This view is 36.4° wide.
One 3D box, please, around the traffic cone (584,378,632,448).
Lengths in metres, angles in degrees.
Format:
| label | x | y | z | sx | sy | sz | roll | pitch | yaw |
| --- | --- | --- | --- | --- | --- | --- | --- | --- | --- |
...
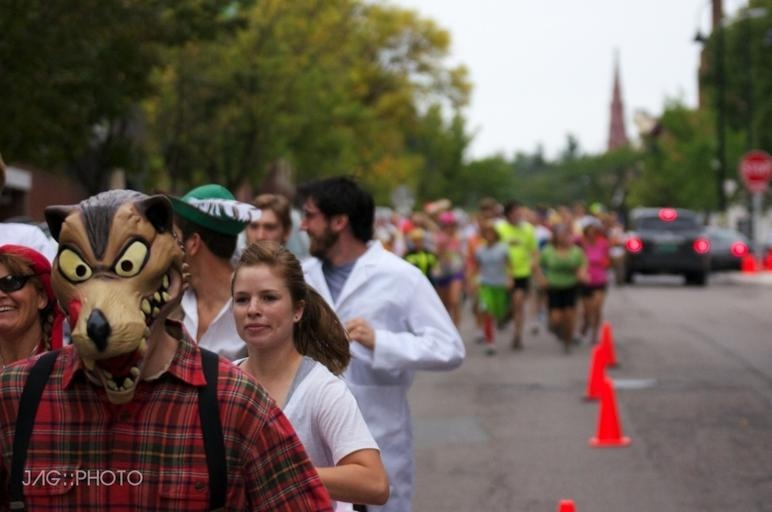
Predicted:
| label | x | y | z | sx | sy | sz | roll | pitch | yaw |
| --- | --- | --- | --- | --- | --- | --- | --- | --- | --- |
| traffic cone | 1.788 | 1.281 | 9.410 | 0.375 | 0.790 | 0.439 | -1 | 0 | 0 |
